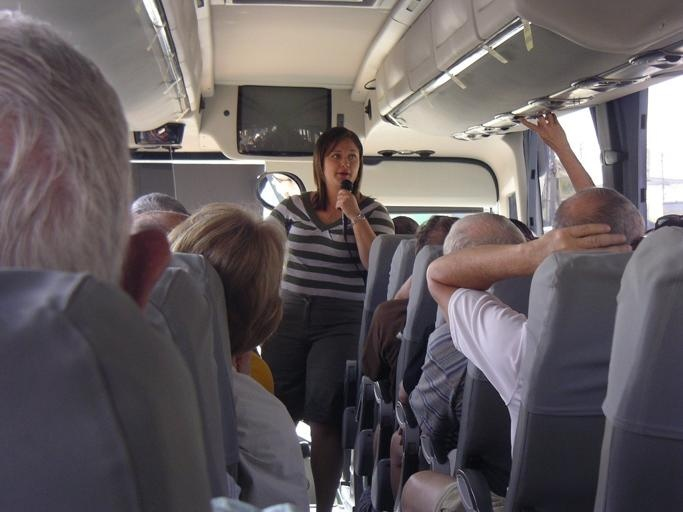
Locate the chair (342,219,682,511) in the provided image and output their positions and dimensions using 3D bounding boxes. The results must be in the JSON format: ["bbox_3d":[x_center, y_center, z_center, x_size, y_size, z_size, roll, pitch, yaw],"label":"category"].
[{"bbox_3d":[0.402,0.320,1.660,0.706,1.096,0.820,-1,4,-19],"label":"chair"}]
